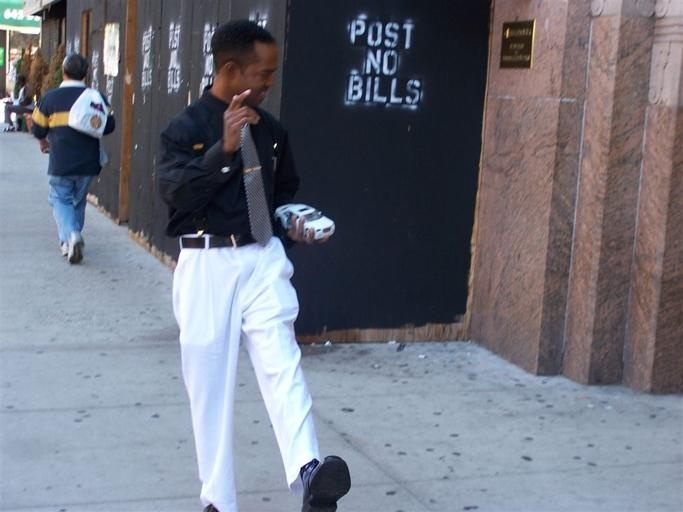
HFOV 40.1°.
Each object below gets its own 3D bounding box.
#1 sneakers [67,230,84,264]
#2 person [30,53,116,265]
[{"bbox_3d":[-2.795,-0.078,9.822,0.134,0.407,0.181,5,9,-22],"label":"sneakers"},{"bbox_3d":[-2.965,-1.056,10.110,0.735,2.201,0.841,4,6,10],"label":"person"}]
